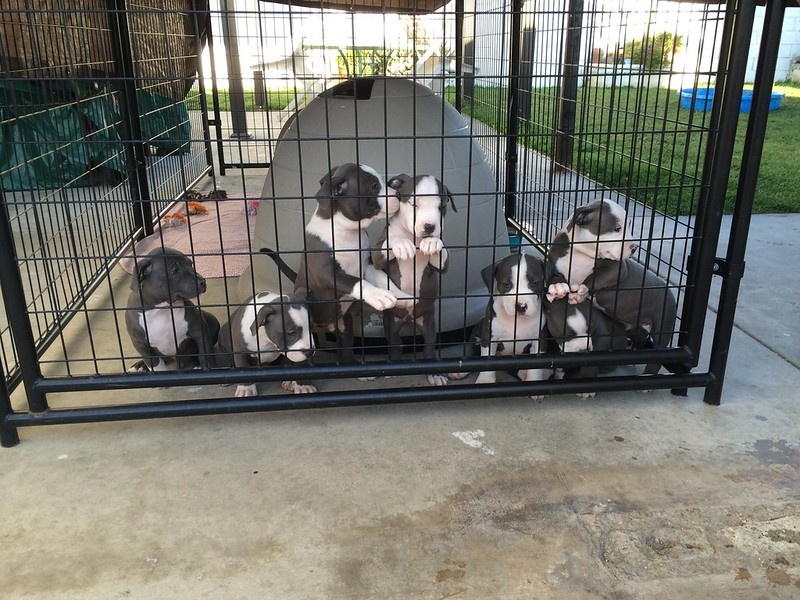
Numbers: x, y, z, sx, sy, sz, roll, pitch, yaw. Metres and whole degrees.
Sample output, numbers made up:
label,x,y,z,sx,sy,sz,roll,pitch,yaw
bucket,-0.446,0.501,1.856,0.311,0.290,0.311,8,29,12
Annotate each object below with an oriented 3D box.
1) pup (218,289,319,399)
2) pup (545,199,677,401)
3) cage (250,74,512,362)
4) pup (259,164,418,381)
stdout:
label,x,y,z,sx,sy,sz,roll,pitch,yaw
pup,-0.683,0.136,3.099,0.447,0.534,0.679,-10,34,-33
pup,1.181,-0.061,3.297,0.654,1.009,1.242,10,10,35
cage,-0.116,-0.661,3.600,1.627,1.238,1.676,-1,22,-4
pup,-0.299,-0.069,2.984,0.669,1.310,0.561,6,22,19
